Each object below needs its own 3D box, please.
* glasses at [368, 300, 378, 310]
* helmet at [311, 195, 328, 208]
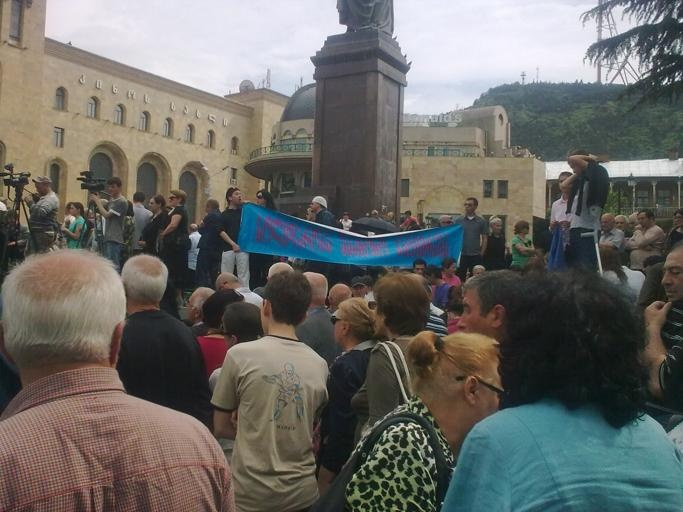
[{"bbox_3d":[0.205,0.319,5.530,0.065,0.045,0.049,6,-34,28],"label":"glasses"},{"bbox_3d":[-0.343,-0.820,12.422,0.228,0.127,0.223,9,10,-30],"label":"helmet"}]
